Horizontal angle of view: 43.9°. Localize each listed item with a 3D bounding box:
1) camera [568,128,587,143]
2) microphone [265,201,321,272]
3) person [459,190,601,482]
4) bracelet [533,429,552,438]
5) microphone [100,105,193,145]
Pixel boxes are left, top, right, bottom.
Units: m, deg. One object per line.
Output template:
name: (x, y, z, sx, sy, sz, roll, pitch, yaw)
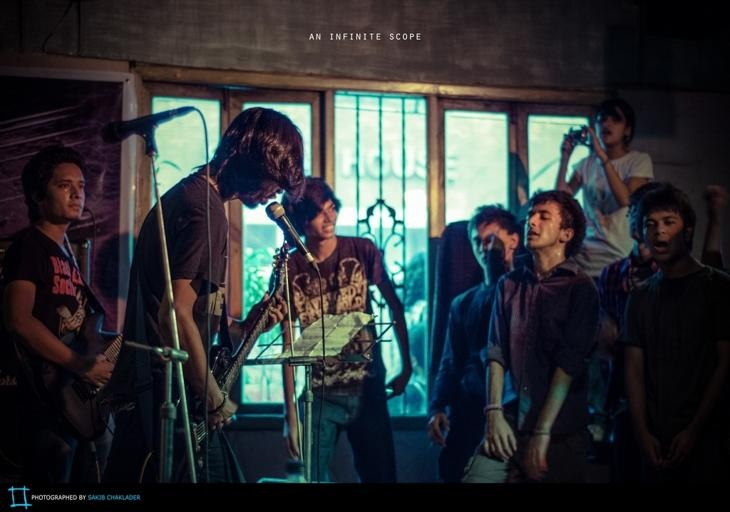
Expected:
camera: (1.400, -0.783, 5.965, 0.103, 0.109, 0.078, 1, -5, 10)
microphone: (-0.467, -0.107, 5.700, 0.086, 0.441, 0.098, -21, 12, 48)
person: (1.082, 0.521, 5.749, 0.710, 1.814, 0.344, 2, 4, 12)
bracelet: (1.118, 1.117, 5.703, 0.107, 0.036, 0.006, 2, 4, 3)
microphone: (-1.359, -0.785, 5.507, 0.622, 0.217, 0.200, 3, 4, 25)
